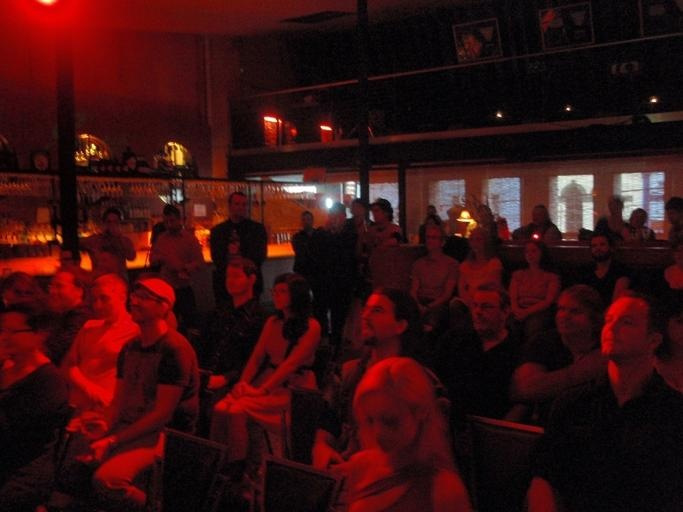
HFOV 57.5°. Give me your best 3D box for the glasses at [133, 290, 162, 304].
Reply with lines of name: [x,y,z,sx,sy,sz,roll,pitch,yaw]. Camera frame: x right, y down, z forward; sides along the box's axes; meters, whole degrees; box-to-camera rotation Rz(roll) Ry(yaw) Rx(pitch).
glasses: [-1.265,0.287,4.010,0.111,0.031,0.112,17,-3,38]
